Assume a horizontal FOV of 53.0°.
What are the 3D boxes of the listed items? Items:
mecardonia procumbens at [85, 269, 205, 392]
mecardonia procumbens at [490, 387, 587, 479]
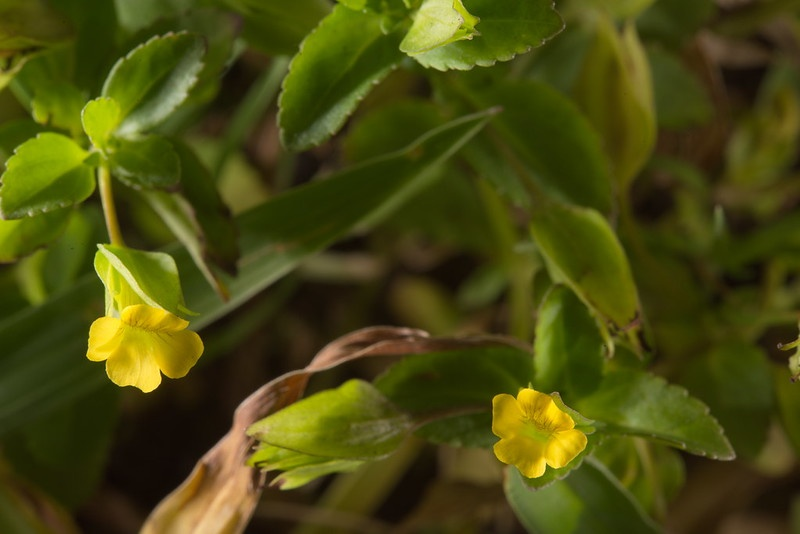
[{"bbox_3d":[-0.238,0.058,0.753,0.090,0.097,0.040,19,21,-8],"label":"mecardonia procumbens"},{"bbox_3d":[0.130,0.143,0.737,0.082,0.080,0.036,64,26,-14],"label":"mecardonia procumbens"}]
